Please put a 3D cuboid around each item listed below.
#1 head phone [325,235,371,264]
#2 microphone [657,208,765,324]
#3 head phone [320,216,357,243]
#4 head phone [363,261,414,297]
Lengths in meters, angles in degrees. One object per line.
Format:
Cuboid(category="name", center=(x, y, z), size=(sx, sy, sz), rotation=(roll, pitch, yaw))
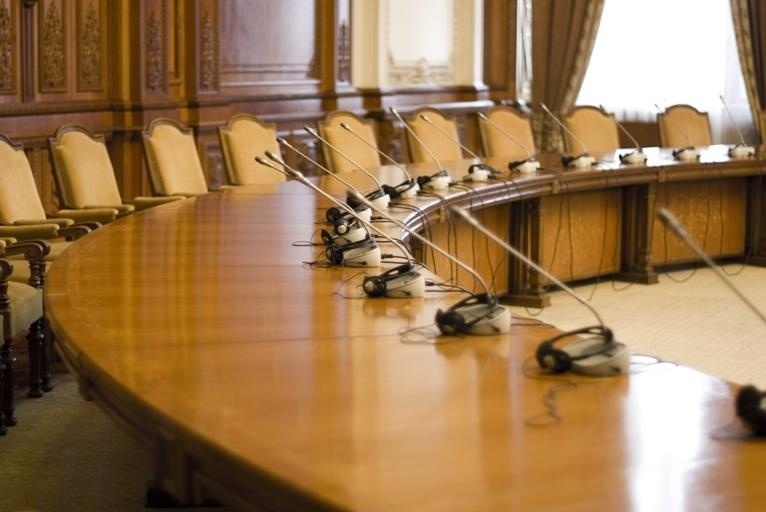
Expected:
Cuboid(category="head phone", center=(-0.131, -0.030, 2.468), size=(0.126, 0.050, 0.095), rotation=(-16, 15, -7))
Cuboid(category="microphone", center=(2.554, 0.071, 5.206), size=(0.092, 1.123, 0.108), rotation=(-42, -1, 0))
Cuboid(category="head phone", center=(-0.162, -0.115, 2.589), size=(0.091, 0.073, 0.131), rotation=(-1, 13, 37))
Cuboid(category="head phone", center=(0.032, 0.063, 2.098), size=(0.115, 0.064, 0.109), rotation=(-2, 8, -10))
